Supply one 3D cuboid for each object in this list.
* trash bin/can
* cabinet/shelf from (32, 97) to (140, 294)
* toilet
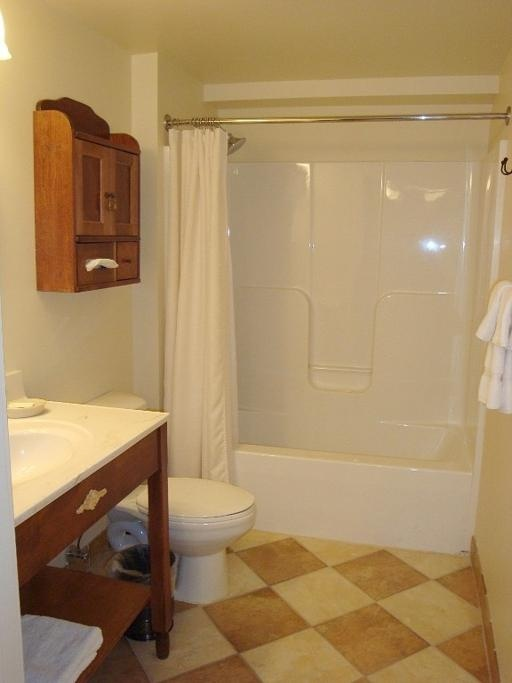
[{"bbox_3d":[-0.392,0.821,1.917,0.253,0.299,0.273,1,2,0],"label":"trash bin/can"},{"bbox_3d":[-0.592,-0.499,1.953,0.201,0.649,0.479,2,7,11],"label":"cabinet/shelf"},{"bbox_3d":[-0.300,0.561,2.056,0.639,0.704,0.357,5,12,1],"label":"toilet"}]
